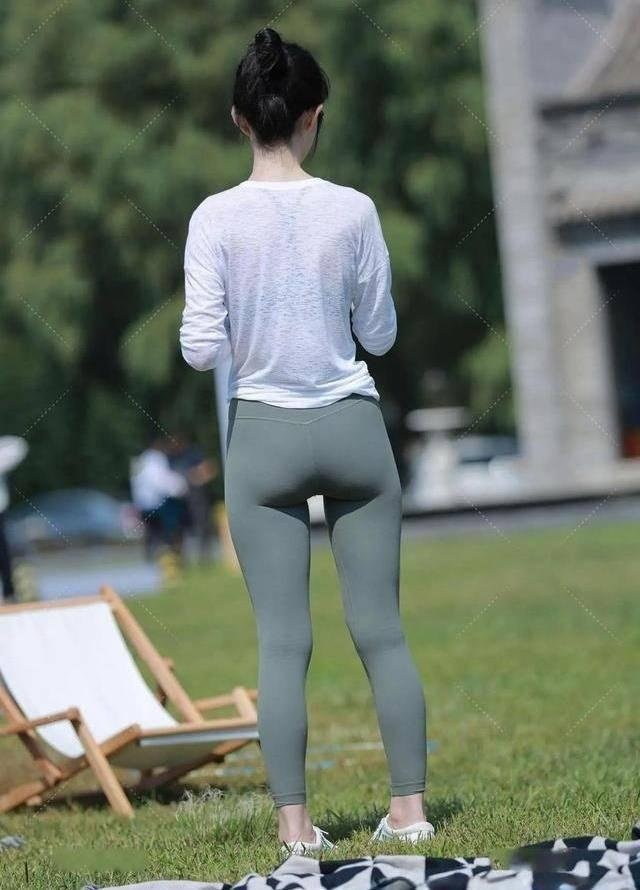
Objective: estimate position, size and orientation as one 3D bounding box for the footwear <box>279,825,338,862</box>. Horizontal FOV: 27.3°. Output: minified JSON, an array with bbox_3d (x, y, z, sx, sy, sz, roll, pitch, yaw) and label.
[{"bbox_3d":[-0.023,0.850,2.806,0.051,0.050,0.132,2,4,29],"label":"footwear"}]

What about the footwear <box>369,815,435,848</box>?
[{"bbox_3d":[0.184,0.835,2.867,0.057,0.059,0.155,2,-6,-43],"label":"footwear"}]

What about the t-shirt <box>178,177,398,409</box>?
[{"bbox_3d":[-0.073,-0.312,2.790,0.453,0.473,0.238,-10,21,2],"label":"t-shirt"}]
